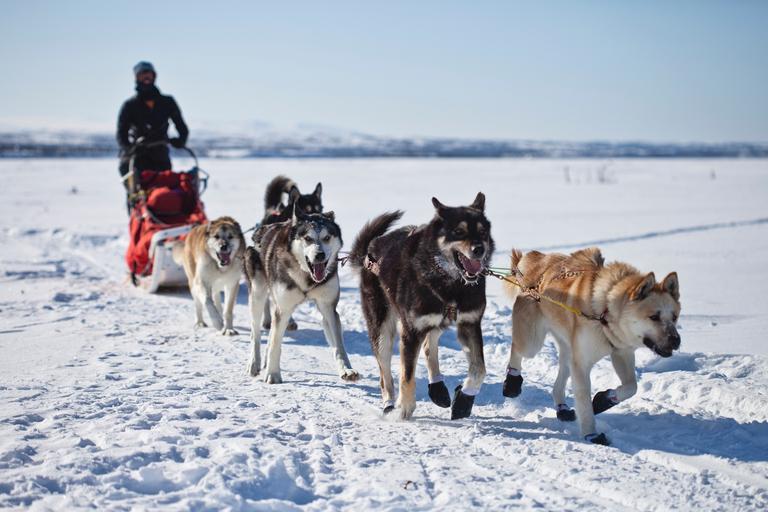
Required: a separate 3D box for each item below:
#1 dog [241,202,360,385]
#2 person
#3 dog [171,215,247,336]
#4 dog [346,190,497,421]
[{"bbox_3d":[-1.336,0.503,12.790,2.068,2.413,1.366,10,16,41],"label":"dog"},{"bbox_3d":[-4.404,-2.555,16.578,1.262,2.068,0.711,-4,12,-16],"label":"person"},{"bbox_3d":[-2.885,0.221,14.943,0.848,1.796,1.912,-5,13,-22],"label":"dog"},{"bbox_3d":[0.476,0.629,11.803,1.886,2.843,1.225,5,13,24],"label":"dog"}]
